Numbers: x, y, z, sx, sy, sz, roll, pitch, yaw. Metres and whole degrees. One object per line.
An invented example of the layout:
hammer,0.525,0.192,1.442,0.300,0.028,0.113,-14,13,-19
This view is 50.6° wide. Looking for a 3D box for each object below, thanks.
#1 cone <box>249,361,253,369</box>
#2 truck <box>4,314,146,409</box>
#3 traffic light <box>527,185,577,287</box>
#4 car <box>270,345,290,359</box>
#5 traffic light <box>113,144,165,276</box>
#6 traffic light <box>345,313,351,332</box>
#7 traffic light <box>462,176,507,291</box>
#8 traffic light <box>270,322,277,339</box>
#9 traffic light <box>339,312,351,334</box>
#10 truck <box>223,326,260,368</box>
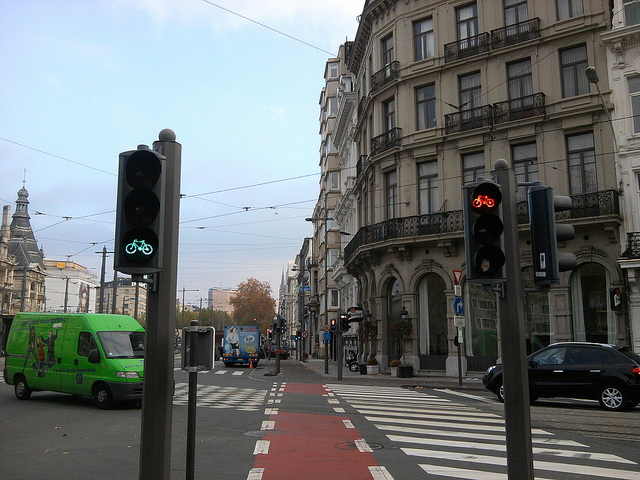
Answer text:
cone,-4.686,8.381,45.692,0.262,0.435,0.287,2,-7,3
truck,-7.258,3.542,20.485,5.218,2.960,1.571,-9,-14,34
traffic light,3.618,-0.108,10.571,0.655,1.720,0.873,-5,-11,21
car,-4.011,11.055,68.141,1.360,1.293,3.516,1,-3,-3
traffic light,-2.527,-0.444,9.432,0.642,1.796,0.198,-1,-10,5
traffic light,1.373,4.042,33.734,0.181,0.886,0.813,-3,-12,12
traffic light,2.447,-0.118,10.082,0.571,1.490,0.304,-4,-11,17
traffic light,-2.660,5.088,38.690,0.185,0.890,0.216,5,9,10
traffic light,1.246,4.001,33.615,0.423,0.917,0.795,-7,-13,32
truck,-5.267,6.856,45.042,1.923,1.862,2.843,0,-14,-5
